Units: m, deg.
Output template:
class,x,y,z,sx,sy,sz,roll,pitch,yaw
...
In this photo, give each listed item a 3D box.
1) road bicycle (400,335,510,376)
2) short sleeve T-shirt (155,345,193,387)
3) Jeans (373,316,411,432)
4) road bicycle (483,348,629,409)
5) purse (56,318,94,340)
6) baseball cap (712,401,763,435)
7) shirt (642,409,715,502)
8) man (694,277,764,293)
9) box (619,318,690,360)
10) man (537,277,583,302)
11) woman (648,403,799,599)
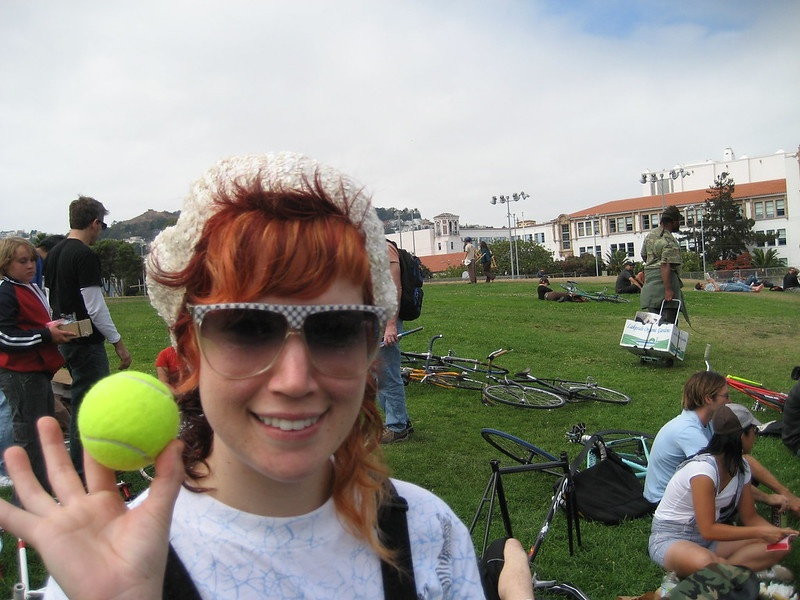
class,x,y,z,sx,sy,sz,roll,pitch,yaw
road bicycle,0.950,1.146,9.706,1.916,0.865,1.138,7,-7,16
short sleeve T-shirt,-1.632,0.481,3.900,0.157,0.290,0.297,10,1,20
Jeans,-0.099,0.897,6.337,0.389,1.270,0.409,-2,-1,16
road bicycle,2.455,1.550,8.569,2.057,1.066,1.247,6,-3,25
purse,-3.203,0.284,5.363,0.220,0.144,0.220,-1,6,-25
baseball cap,3.136,1.101,5.019,0.410,0.217,0.284,-7,5,-21
shirt,2.849,1.643,5.722,0.828,0.792,0.871,6,0,8
man,21.202,-0.895,34.609,2.353,0.820,0.846,-7,-6,16
box,5.314,0.941,11.102,0.931,0.650,0.961,12,-14,39
man,5.947,-0.339,19.949,1.451,0.828,0.857,-2,5,7
woman,2.915,1.704,4.821,1.292,1.291,0.806,-5,4,-23
